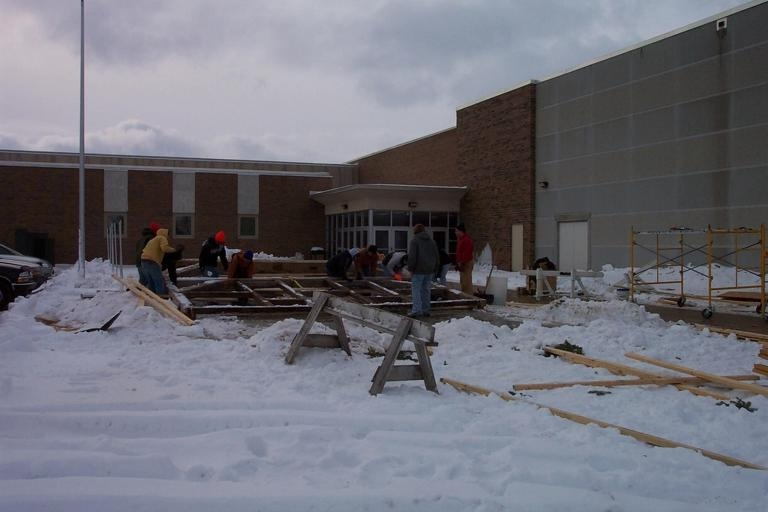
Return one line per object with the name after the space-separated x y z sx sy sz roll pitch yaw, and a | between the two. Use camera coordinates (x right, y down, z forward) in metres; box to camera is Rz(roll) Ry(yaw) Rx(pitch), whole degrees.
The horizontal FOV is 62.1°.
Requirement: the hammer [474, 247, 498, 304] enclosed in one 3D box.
2.761 0.790 17.024 0.555 1.318 0.038 5 42 -4 | hammer

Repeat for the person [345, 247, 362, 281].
-0.868 0.242 17.817 0.356 0.906 0.937 -3 5 -9 | person

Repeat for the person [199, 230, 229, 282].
-4.882 -0.102 18.092 0.755 1.414 1.352 -3 14 -16 | person

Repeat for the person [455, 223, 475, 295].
2.024 0.113 16.120 0.462 1.873 0.738 2 14 5 | person

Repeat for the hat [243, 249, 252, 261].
-3.698 -0.008 17.215 0.213 0.291 0.318 -6 15 -27 | hat

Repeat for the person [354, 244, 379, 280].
-0.514 0.152 17.543 0.635 1.002 1.133 0 13 -3 | person

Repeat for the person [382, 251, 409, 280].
0.309 0.290 17.485 0.709 0.932 0.998 1 13 -1 | person

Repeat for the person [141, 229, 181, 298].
-5.242 0.136 14.504 1.147 1.597 0.606 8 15 26 | person

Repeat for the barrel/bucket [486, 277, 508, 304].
2.847 0.848 16.257 0.545 0.711 0.354 5 14 18 | barrel/bucket

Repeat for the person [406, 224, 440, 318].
0.816 0.283 13.711 0.756 1.950 0.546 2 -1 -27 | person

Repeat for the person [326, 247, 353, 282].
-1.194 0.216 17.282 0.531 0.953 1.235 -5 14 -22 | person
